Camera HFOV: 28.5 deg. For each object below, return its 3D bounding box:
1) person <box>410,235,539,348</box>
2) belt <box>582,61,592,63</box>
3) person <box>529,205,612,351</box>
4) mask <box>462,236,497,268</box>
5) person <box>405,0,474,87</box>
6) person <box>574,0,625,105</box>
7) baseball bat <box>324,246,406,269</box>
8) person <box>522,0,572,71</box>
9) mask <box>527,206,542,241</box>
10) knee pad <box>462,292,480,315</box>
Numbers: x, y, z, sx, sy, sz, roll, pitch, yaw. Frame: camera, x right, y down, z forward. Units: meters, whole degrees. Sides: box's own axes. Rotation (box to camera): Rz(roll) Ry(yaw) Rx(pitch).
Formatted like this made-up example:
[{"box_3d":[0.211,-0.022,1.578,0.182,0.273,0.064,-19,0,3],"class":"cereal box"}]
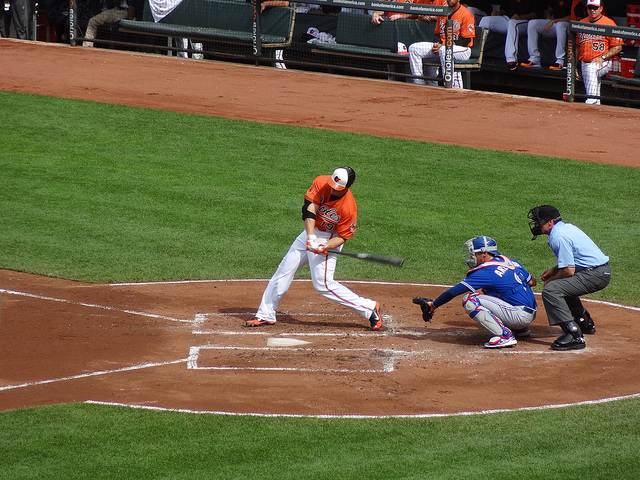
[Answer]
[{"box_3d":[2.121,0.638,16.749,1.847,1.264,1.088,-4,9,-17],"class":"person"},{"box_3d":[5.038,-3.384,23.714,0.037,0.027,0.196,1,7,-27],"class":"belt"},{"box_3d":[3.258,0.501,16.579,1.057,1.858,0.698,6,7,10],"class":"person"},{"box_3d":[2.123,0.155,16.597,0.549,0.407,0.393,-8,5,9],"class":"mask"},{"box_3d":[2.364,-3.907,24.788,1.078,1.696,0.811,8,8,26],"class":"person"},{"box_3d":[5.279,-3.576,23.790,0.976,1.982,0.713,9,9,33],"class":"person"},{"box_3d":[0.678,0.244,18.276,1.095,0.170,0.141,10,19,1],"class":"baseball bat"},{"box_3d":[4.725,-4.233,25.758,0.704,1.472,1.129,1,8,-28],"class":"person"},{"box_3d":[2.899,-0.230,16.947,0.184,0.483,0.754,6,7,9],"class":"mask"},{"box_3d":[1.980,0.826,16.544,0.199,0.285,0.249,6,7,11],"class":"knee pad"}]
